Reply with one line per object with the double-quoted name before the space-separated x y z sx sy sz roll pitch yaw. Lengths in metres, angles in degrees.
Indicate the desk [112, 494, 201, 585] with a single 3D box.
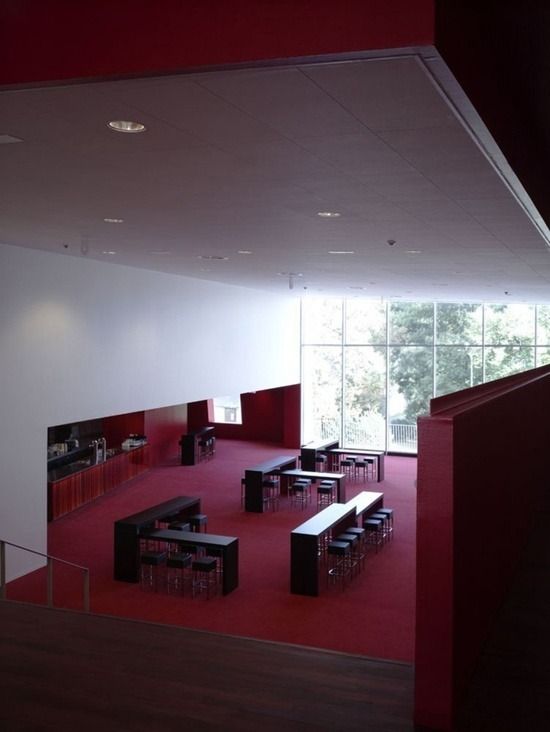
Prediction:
"desk" -1.718 2.481 8.845 0.615 0.745 1.915 2 1 13
